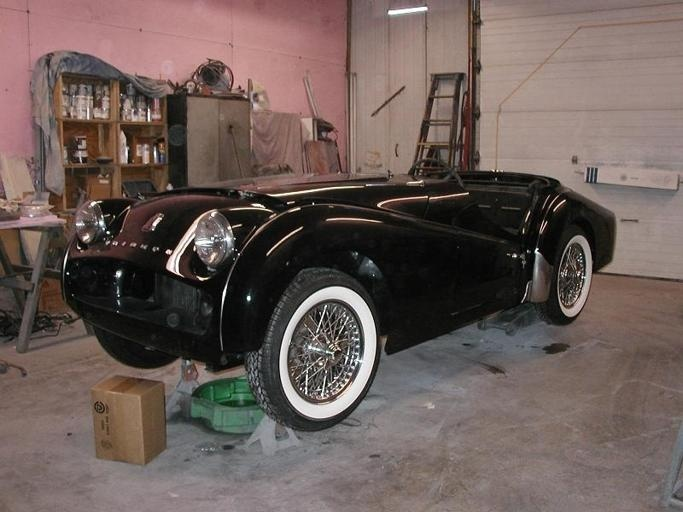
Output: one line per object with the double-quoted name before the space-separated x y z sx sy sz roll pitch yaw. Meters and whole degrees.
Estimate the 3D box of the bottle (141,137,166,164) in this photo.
"bottle" -2.296 -1.303 6.342 0.169 0.328 0.328 3 5 44

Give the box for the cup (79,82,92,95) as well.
"cup" -2.784 -1.822 5.672 0.112 0.115 0.112 1 8 0

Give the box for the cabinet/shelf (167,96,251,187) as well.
"cabinet/shelf" -1.721 -1.506 6.768 0.380 1.098 1.166 10 15 29

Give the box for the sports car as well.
"sports car" 0.296 0.099 3.256 3.060 1.014 1.538 -10 9 -40

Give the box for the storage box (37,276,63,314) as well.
"storage box" -2.514 0.365 4.525 0.220 0.377 0.087 -4 2 -14

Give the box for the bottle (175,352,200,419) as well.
"bottle" -0.823 0.695 2.859 0.149 0.288 0.113 3 -24 -24

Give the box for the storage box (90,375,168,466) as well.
"storage box" -1.001 0.778 2.492 0.299 0.307 0.223 -1 2 16
